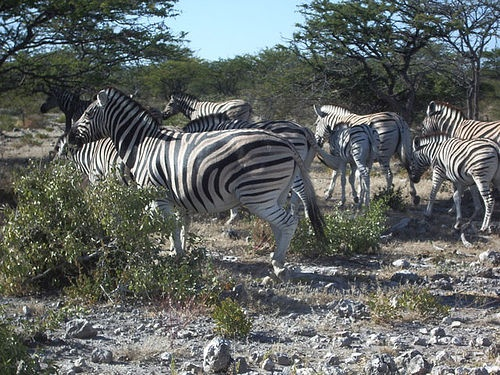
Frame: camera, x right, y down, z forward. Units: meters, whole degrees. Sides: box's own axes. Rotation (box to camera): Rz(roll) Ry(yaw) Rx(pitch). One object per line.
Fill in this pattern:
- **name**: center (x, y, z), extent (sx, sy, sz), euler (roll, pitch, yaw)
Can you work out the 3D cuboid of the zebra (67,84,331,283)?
- **zebra**: center (-1.154, -0.199, 14.503), extent (4.834, 3.718, 1.600), euler (2, 18, 15)
